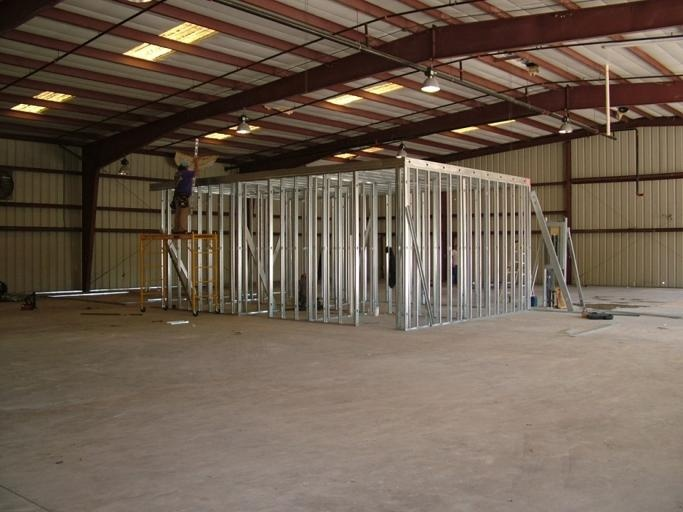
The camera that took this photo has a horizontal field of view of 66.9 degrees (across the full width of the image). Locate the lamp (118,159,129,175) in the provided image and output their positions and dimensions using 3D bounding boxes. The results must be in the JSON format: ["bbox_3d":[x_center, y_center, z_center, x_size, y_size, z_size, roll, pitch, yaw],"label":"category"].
[{"bbox_3d":[-8.393,-3.536,20.036,0.393,0.793,1.294,0,-1,-22],"label":"lamp"}]
